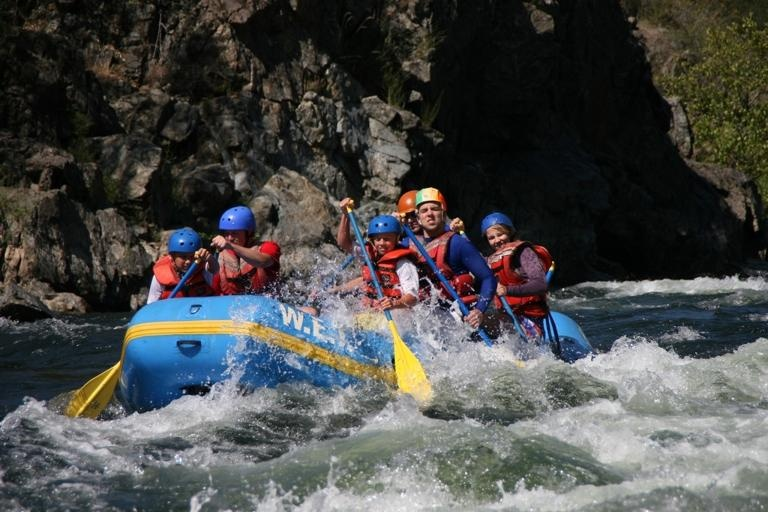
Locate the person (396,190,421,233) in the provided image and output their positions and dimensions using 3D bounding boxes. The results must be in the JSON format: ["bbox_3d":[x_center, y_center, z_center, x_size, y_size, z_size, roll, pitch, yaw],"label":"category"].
[{"bbox_3d":[0.471,-0.829,20.968,0.482,0.833,0.799,-13,2,0],"label":"person"}]

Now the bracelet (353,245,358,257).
[{"bbox_3d":[-0.553,-0.112,20.774,0.109,0.159,0.054,0,2,-8],"label":"bracelet"}]

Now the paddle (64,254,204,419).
[{"bbox_3d":[-4.634,1.557,20.474,0.437,3.313,0.241,31,-18,0],"label":"paddle"}]

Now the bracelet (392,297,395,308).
[{"bbox_3d":[0.134,0.833,19.819,0.081,0.158,0.036,0,-4,-8],"label":"bracelet"}]
